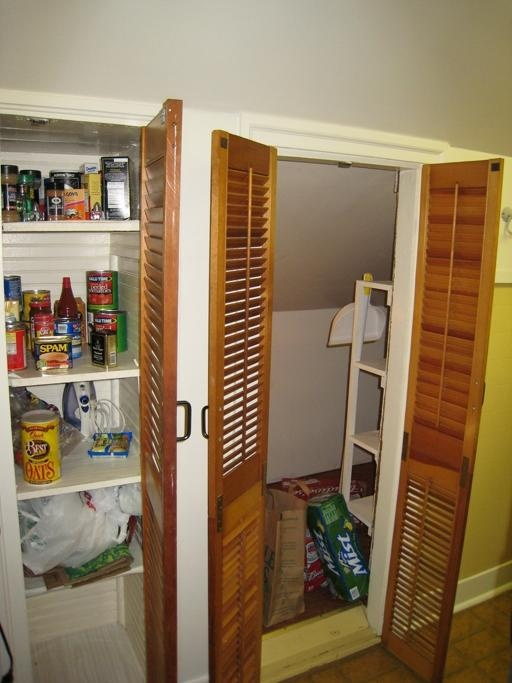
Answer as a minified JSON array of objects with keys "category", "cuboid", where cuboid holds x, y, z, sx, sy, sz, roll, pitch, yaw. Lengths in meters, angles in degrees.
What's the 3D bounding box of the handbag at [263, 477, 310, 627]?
[{"category":"handbag","cuboid":[0.122,0.973,2.284,0.177,0.416,0.307,-1,14,8]}]
